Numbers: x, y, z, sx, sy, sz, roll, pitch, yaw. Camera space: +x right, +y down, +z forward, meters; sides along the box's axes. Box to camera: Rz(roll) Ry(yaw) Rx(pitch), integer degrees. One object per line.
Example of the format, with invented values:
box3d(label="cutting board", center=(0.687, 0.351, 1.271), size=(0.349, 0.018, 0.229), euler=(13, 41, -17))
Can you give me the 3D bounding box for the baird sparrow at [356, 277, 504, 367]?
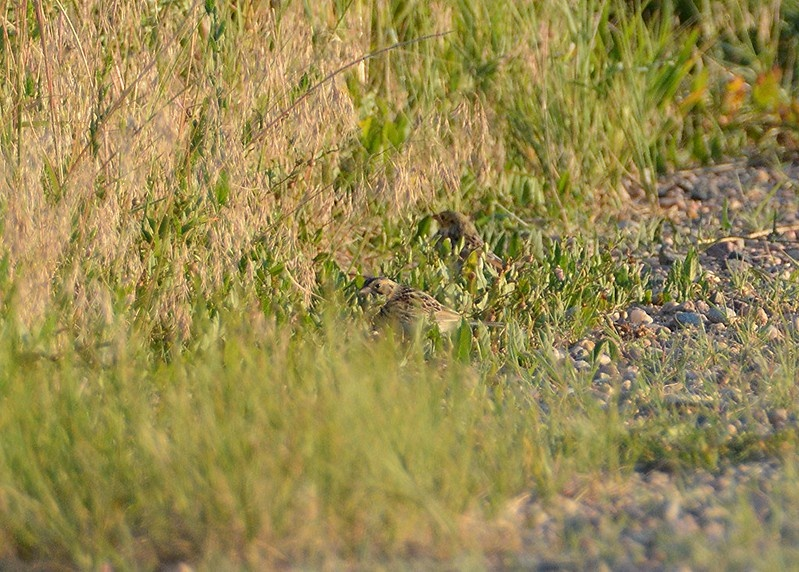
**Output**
box3d(label="baird sparrow", center=(0.118, 0.131, 5.464), size=(0.669, 0.400, 0.221), euler=(-7, 2, -26))
